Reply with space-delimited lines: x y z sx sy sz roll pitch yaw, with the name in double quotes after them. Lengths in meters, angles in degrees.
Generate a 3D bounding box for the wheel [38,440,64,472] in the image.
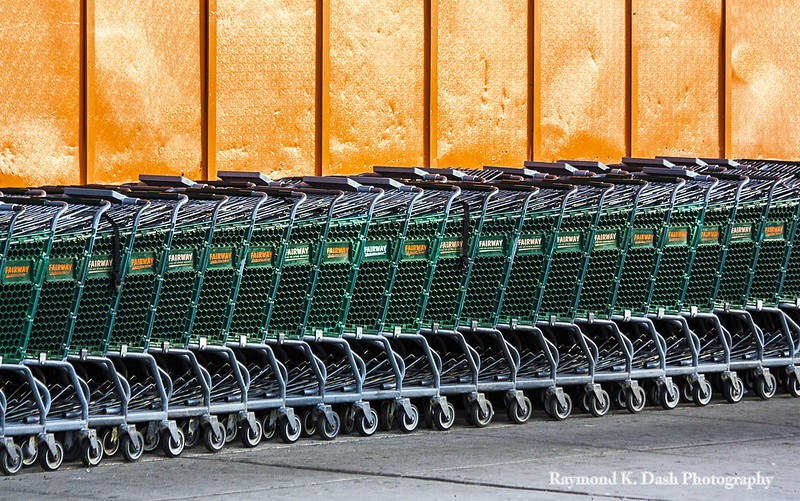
-3.349 1.948 16.682 0.140 0.225 0.241 -8 -36 37 "wheel"

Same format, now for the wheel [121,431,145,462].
-2.618 1.895 16.999 0.106 0.208 0.260 -8 -28 29 "wheel"

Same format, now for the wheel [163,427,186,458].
-2.239 1.874 17.169 0.117 0.237 0.256 -3 -64 43 "wheel"

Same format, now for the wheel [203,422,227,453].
-1.866 1.854 17.406 0.200 0.307 0.299 -8 -39 6 "wheel"

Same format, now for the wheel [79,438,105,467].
-2.984 1.932 16.825 0.100 0.234 0.219 -2 -30 38 "wheel"
